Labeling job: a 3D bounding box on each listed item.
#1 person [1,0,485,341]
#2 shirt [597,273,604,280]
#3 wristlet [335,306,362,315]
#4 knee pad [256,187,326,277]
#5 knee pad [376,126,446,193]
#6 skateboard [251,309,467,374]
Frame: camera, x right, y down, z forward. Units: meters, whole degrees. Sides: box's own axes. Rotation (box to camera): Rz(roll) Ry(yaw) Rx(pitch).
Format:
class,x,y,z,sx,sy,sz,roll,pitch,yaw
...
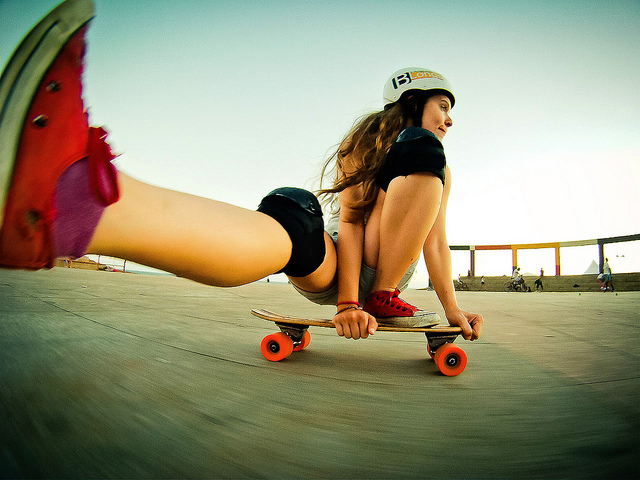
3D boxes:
class,x,y,z,sx,sy,sz,roll,pitch,yaw
person,-0.157,-0.277,1.609,1.606,1.215,0.523,6,-5,-32
shirt,8.940,1.151,14.148,0.088,0.210,1.530,0,-6,29
wristlet,0.104,0.267,1.696,0.086,0.031,0.055,3,-5,0
knee pad,-0.056,-0.037,1.598,0.215,0.131,0.304,-24,3,45
knee pad,0.363,-0.341,1.736,0.231,0.219,0.095,1,-5,25
skateboard,0.165,0.395,1.754,0.610,0.168,0.328,1,-12,7
